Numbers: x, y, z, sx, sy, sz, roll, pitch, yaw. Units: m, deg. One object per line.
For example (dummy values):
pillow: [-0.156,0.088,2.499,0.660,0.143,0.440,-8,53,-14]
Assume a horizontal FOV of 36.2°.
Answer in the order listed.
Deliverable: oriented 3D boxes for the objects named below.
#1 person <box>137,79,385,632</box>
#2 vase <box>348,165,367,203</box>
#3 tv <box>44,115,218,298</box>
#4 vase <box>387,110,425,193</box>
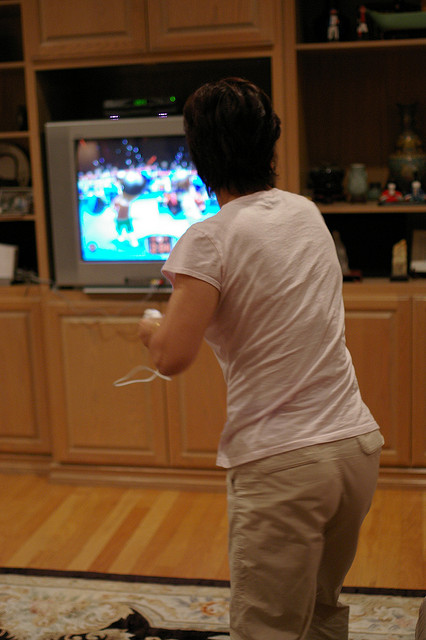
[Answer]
person: [0.090,0.138,1.138,0.382,1.088,0.249,-4,10,-6]
vase: [0.631,-0.599,2.839,0.078,0.159,0.043,-1,10,11]
tv: [-0.310,-0.446,2.420,0.922,0.663,0.470,-1,7,4]
vase: [0.830,-0.723,2.772,0.149,0.350,0.140,-1,10,11]
